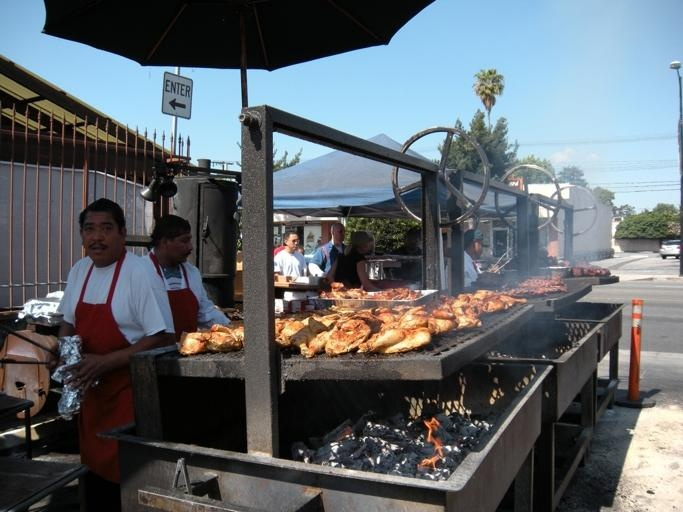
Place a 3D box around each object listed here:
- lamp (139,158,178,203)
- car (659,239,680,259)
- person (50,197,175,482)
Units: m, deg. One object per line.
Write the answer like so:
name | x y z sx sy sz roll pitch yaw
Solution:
lamp | -2.038 -0.845 6.421 0.389 0.456 0.429 -1 6 -21
car | 25.311 -0.478 43.896 1.179 1.602 3.568 4 6 28
person | -1.421 0.484 3.609 0.623 1.675 0.585 -2 6 -28
